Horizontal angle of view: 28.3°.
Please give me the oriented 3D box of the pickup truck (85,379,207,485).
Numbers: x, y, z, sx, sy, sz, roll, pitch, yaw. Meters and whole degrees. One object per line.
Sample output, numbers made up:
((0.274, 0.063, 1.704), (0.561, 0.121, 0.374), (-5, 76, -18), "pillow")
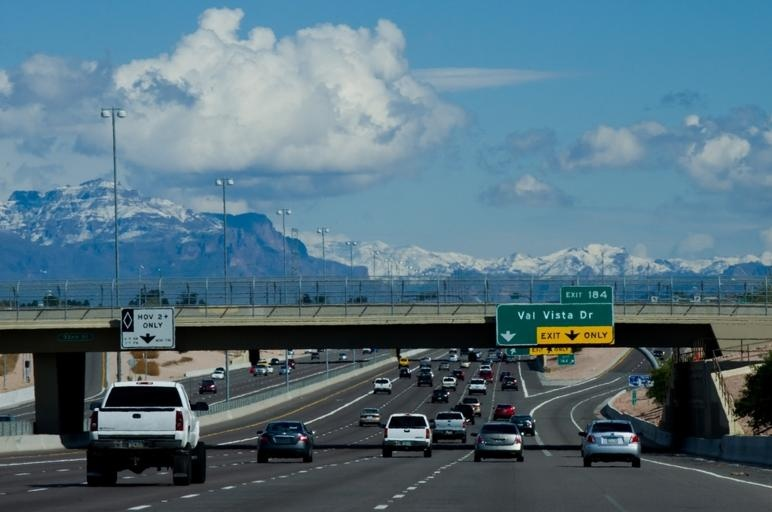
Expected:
((-12.424, 8.680, 77.114), (4.875, 4.576, 1.284), (-4, -7, 0), "pickup truck")

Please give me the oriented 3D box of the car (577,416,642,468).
((13.293, 10.785, 91.117), (3.395, 2.425, 7.570), (0, 1, 4), "car")

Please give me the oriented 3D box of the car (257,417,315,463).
((-6.125, 11.277, 94.100), (3.189, 2.292, 7.188), (0, -3, -1), "car")
